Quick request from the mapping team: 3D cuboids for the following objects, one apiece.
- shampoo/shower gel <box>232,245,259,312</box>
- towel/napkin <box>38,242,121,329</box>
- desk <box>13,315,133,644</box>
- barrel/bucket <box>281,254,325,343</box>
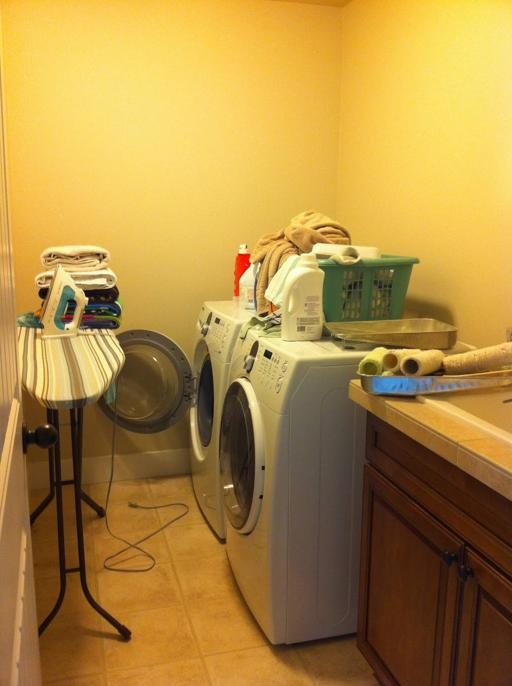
[{"bbox_3d":[-0.041,-0.258,2.208,0.091,0.293,0.116,-1,13,-23],"label":"shampoo/shower gel"},{"bbox_3d":[-0.647,-0.238,2.055,0.279,0.351,0.264,1,14,-20],"label":"towel/napkin"},{"bbox_3d":[-0.588,0.444,1.802,0.362,0.980,0.510,-3,12,-15],"label":"desk"},{"bbox_3d":[0.138,-0.138,1.671,0.125,0.257,0.097,-3,18,-4],"label":"barrel/bucket"}]
